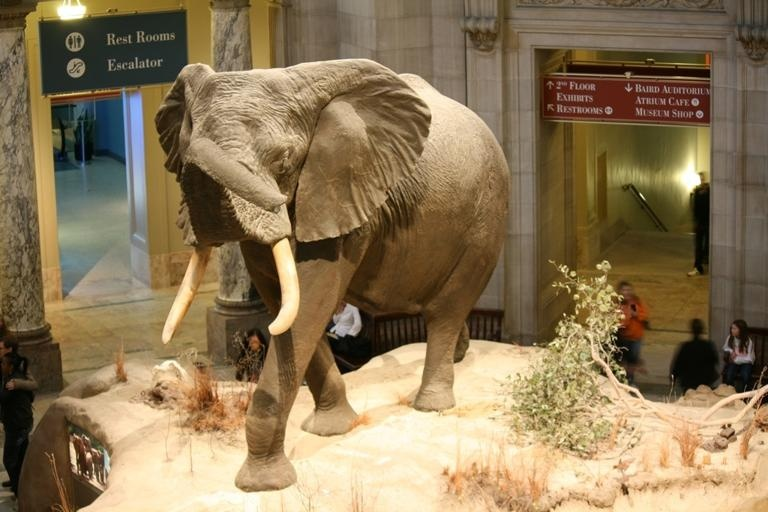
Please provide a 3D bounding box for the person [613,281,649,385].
[{"bbox_3d":[3.604,1.147,11.208,0.579,1.487,0.360,-9,13,-36],"label":"person"}]

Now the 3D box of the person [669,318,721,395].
[{"bbox_3d":[4.395,1.564,10.710,0.619,1.167,1.073,4,12,24],"label":"person"}]

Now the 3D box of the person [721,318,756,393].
[{"bbox_3d":[4.927,1.348,10.523,0.398,0.906,0.455,5,12,29],"label":"person"}]

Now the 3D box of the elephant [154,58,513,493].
[{"bbox_3d":[-0.966,-0.285,8.082,2.629,3.812,4.636,5,7,37],"label":"elephant"}]

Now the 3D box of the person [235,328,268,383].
[{"bbox_3d":[-1.864,1.372,10.451,0.446,0.745,1.168,4,2,-16],"label":"person"}]

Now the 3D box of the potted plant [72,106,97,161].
[{"bbox_3d":[-12.145,-4.851,30.497,0.861,2.155,0.984,-6,12,-23],"label":"potted plant"}]

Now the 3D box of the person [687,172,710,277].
[{"bbox_3d":[7.634,-0.638,18.320,0.396,1.650,2.804,3,13,22],"label":"person"}]

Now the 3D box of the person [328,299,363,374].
[{"bbox_3d":[-0.542,1.162,10.684,0.432,0.771,1.097,-4,16,-19],"label":"person"}]
